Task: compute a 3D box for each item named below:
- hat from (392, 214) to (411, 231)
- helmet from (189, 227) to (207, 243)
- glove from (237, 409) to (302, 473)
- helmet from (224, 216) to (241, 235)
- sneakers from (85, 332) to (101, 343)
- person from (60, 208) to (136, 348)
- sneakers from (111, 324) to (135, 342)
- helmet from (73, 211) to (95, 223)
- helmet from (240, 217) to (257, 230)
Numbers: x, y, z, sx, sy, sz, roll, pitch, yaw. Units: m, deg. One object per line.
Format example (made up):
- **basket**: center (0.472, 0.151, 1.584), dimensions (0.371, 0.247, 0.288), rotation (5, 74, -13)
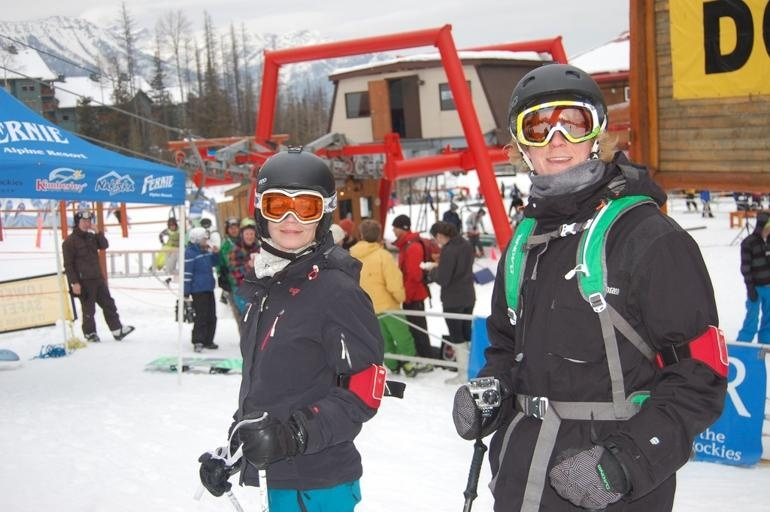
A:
- **hat**: center (0.277, -0.548, 11.797), dimensions (0.299, 0.240, 0.213), rotation (6, 11, 18)
- **helmet**: center (-3.236, -0.376, 12.746), dimensions (0.306, 0.221, 0.229), rotation (4, -4, -43)
- **glove**: center (-0.746, 1.277, 5.100), dimensions (0.486, 0.331, 0.228), rotation (-5, 6, -2)
- **helmet**: center (-2.625, -0.518, 12.561), dimensions (0.236, 0.262, 0.281), rotation (1, -28, -10)
- **sneakers**: center (-5.285, 1.460, 13.203), dimensions (0.167, 0.142, 0.191), rotation (-2, 3, 12)
- **person**: center (-5.335, 0.340, 13.387), dimensions (1.043, 2.346, 0.826), rotation (8, 11, 31)
- **sneakers**: center (-4.875, 1.373, 13.631), dimensions (0.164, 0.193, 0.477), rotation (5, 24, 24)
- **helmet**: center (-5.464, -0.728, 13.259), dimensions (0.310, 0.114, 0.224), rotation (-3, 5, 28)
- **helmet**: center (-2.101, -0.497, 11.221), dimensions (0.379, 0.158, 0.512), rotation (-1, 2, -7)
